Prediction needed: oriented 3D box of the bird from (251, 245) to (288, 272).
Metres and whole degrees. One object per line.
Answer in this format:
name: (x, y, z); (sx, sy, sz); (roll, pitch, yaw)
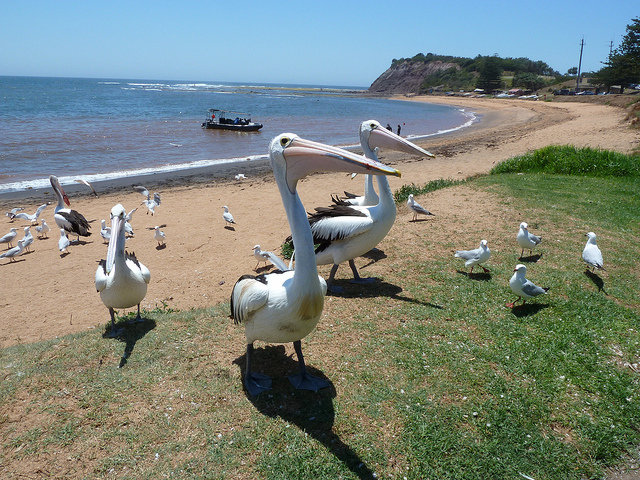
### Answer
bird: (-1.403, 0.508, 12.185); (1.239, 0.662, 0.596); (-4, 22, 45)

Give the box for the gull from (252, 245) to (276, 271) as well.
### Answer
gull: (-1.656, 0.424, 12.646); (0.544, 0.571, 0.947); (-2, 2, 9)

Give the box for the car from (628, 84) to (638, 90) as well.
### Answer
car: (45.982, -22.611, 66.087); (0.872, 0.870, 7.556); (16, 26, 30)

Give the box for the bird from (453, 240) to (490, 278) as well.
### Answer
bird: (3.621, 0.373, 10.480); (0.569, 0.741, 1.129); (-13, 11, -23)

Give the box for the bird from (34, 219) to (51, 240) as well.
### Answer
bird: (-10.078, -0.428, 16.286); (0.391, 0.658, 0.749); (-14, 28, -29)

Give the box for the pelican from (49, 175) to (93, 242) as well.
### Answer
pelican: (-8.948, -0.939, 16.085); (1.765, 2.446, 1.594); (-1, 19, -14)

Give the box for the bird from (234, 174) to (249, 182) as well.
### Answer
bird: (-4.288, -3.450, 24.476); (0.511, 0.222, 0.499); (-31, 23, -24)

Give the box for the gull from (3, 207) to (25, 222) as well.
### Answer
gull: (-12.165, -0.996, 17.803); (0.448, 0.240, 0.697); (-25, -7, -34)

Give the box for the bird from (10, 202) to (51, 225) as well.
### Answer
bird: (-11.014, -1.002, 17.015); (1.296, 0.465, 0.882); (-28, 46, -30)

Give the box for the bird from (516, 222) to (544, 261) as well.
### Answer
bird: (4.976, 0.032, 10.739); (0.483, 0.840, 0.598); (12, 28, 21)

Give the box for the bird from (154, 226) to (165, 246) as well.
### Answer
bird: (-5.412, -0.132, 15.080); (0.325, 0.562, 0.558); (-9, 26, -19)

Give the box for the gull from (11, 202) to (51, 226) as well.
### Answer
gull: (-10.981, -0.874, 17.171); (1.422, 0.514, 0.878); (-27, 49, -14)

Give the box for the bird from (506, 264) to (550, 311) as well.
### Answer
bird: (4.137, 0.929, 9.005); (1.166, 0.793, 0.505); (5, 4, -24)
